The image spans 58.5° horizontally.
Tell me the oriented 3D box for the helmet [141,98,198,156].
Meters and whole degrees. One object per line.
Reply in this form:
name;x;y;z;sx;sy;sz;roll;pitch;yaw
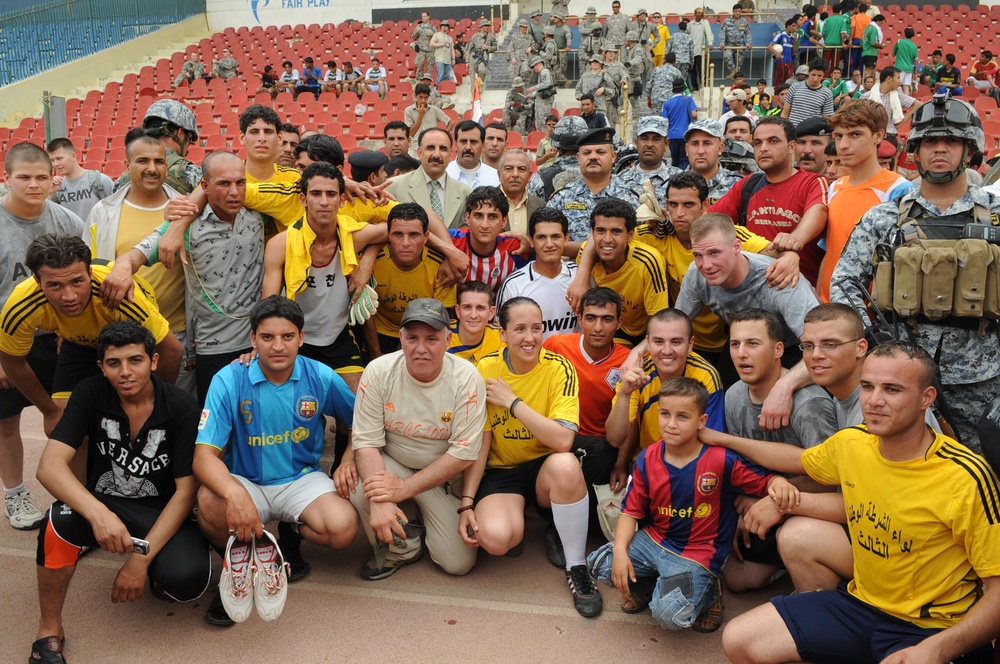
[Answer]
helmet;-2.638;-1.627;7.055;0.337;0.430;0.438;8;-7;28

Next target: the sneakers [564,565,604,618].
sneakers;0.526;1.661;5.688;0.130;0.163;0.371;-12;19;-5

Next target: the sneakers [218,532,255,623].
sneakers;-1.638;1.502;5.512;0.210;0.590;0.209;-1;-9;-24

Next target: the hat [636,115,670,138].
hat;1.357;-1.779;7.899;0.249;0.133;0.368;3;11;11

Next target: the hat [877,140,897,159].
hat;3.603;-1.722;8.304;0.221;0.077;0.231;-13;30;30

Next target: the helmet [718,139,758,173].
helmet;2.210;-1.627;8.237;0.361;0.145;0.278;8;21;25

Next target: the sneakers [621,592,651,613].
sneakers;0.850;1.722;5.653;0.172;0.069;0.086;-5;16;-34

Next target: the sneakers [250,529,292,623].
sneakers;-1.422;1.551;5.532;0.223;0.227;0.611;-7;18;-14

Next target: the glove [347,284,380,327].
glove;-1.048;-0.275;6.569;0.250;0.202;0.408;-12;-23;-17

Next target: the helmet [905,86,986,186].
helmet;2.869;-1.259;5.749;0.427;0.465;0.592;10;14;41
